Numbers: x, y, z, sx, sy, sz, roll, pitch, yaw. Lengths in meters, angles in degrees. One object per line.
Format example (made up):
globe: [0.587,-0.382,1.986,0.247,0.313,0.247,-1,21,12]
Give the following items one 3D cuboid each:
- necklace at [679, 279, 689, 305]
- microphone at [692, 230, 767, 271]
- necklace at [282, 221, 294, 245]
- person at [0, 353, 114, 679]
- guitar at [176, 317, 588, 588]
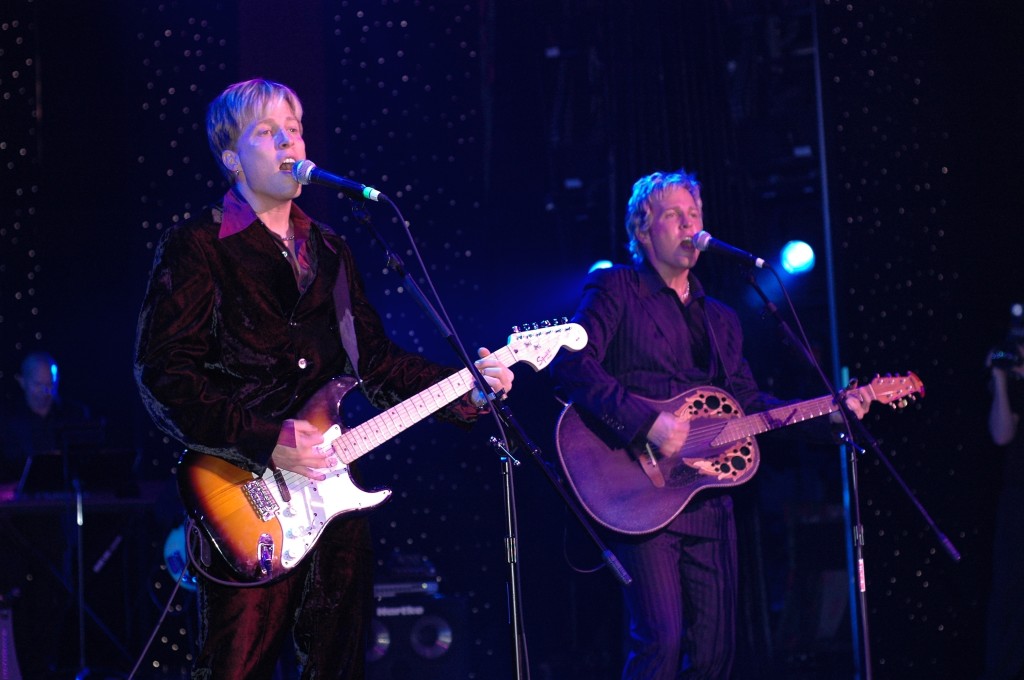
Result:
necklace: [1.037,-0.284,5.707,0.081,0.128,0.028,27,-23,-39]
microphone: [1.314,-0.555,5.860,0.509,0.162,0.146,17,56,44]
necklace: [-1.133,-0.540,4.803,0.012,0.152,0.061,-30,-49,25]
person: [-2.577,0.956,5.350,0.425,1.193,0.273,-1,4,28]
guitar: [-0.702,0.627,4.960,1.395,0.539,0.211,-31,-4,-23]
